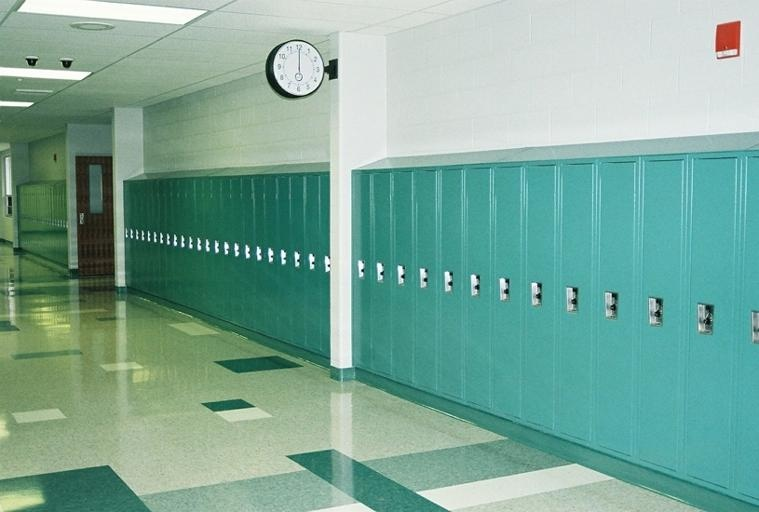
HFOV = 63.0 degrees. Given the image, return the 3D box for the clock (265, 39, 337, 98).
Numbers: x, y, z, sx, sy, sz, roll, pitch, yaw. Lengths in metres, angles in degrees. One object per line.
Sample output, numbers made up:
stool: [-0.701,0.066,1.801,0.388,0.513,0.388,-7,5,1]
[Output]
clock: [-0.952,-2.097,6.879,0.606,0.633,0.173,-2,6,-19]

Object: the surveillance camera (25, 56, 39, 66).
surveillance camera: [-4.820,-2.706,8.556,0.141,0.095,0.141,-5,4,26]

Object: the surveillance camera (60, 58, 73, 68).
surveillance camera: [-4.383,-2.708,8.649,0.142,0.133,0.120,-1,14,-2]

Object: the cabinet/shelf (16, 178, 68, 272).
cabinet/shelf: [-11.026,-1.258,19.641,0.688,2.427,5.159,-1,2,-14]
